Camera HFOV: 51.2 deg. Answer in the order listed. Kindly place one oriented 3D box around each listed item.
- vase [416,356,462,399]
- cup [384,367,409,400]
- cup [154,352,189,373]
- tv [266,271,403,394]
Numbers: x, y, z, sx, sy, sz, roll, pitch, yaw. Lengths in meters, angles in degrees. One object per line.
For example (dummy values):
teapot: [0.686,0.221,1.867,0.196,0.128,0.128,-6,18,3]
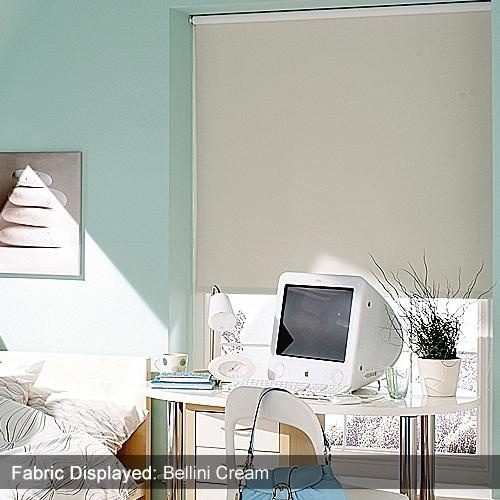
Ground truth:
vase: [0.708,0.469,1.959,0.148,0.119,0.143,0,-12,3]
cup: [0.550,0.491,1.936,0.097,0.115,0.097,1,-9,0]
cup: [-0.350,0.482,2.299,0.152,0.117,0.102,-1,-3,13]
tv: [0.322,0.282,2.214,0.474,0.505,0.476,-2,-4,42]
